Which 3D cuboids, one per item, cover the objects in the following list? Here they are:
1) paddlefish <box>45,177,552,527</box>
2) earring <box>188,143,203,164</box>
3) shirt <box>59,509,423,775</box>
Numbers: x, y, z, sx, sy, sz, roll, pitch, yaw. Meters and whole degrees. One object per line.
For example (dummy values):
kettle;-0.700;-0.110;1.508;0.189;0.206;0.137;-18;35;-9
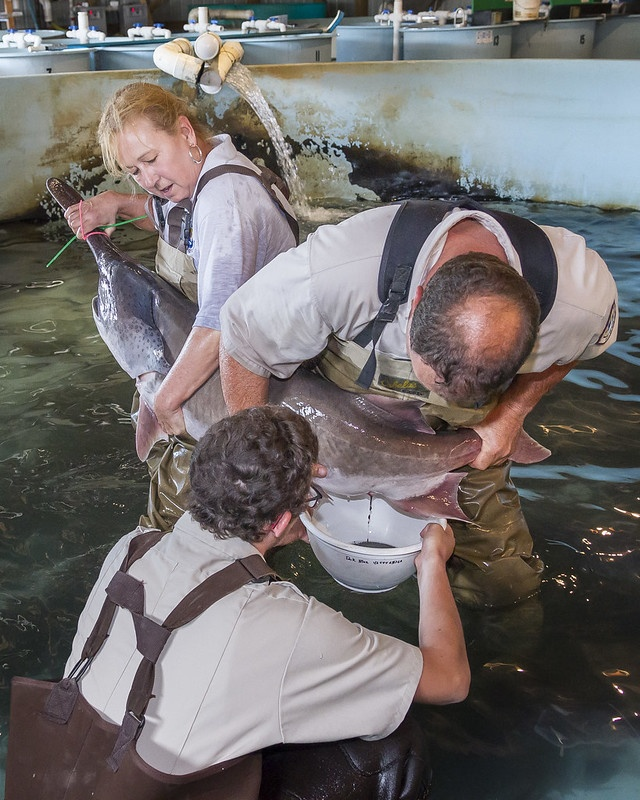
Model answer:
paddlefish;-0.121;-0.024;2.555;2.271;0.579;0.667;33;44;11
earring;-0.408;-0.803;2.322;0.047;0.049;0.013;-34;27;-29
shirt;-0.129;0.483;1.394;0.692;0.285;0.475;22;36;30
